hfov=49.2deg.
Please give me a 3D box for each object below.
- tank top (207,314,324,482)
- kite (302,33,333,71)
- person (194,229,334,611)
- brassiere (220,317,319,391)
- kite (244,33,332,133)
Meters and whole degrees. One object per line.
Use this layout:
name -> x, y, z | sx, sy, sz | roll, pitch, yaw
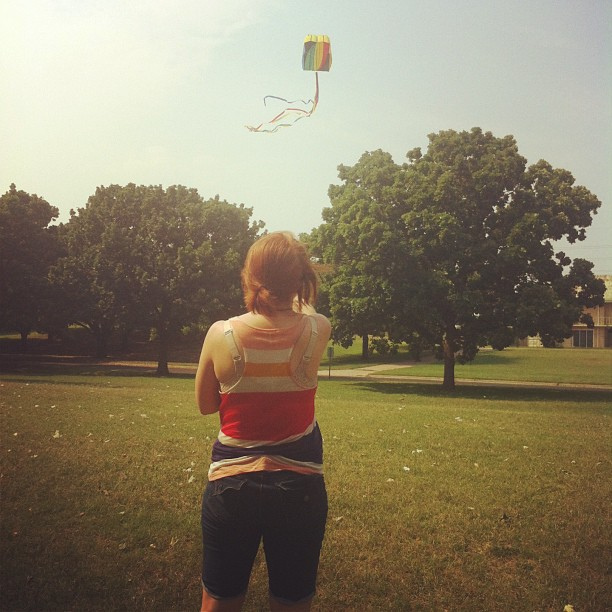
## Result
tank top -> -0.234, 0.500, 4.346 | 0.706, 1.322, 0.640 | 2, 25, 2
kite -> 0.142, -2.889, 7.340 | 0.322, 0.286, 0.479 | 0, -26, 2
person -> -0.262, 0.735, 4.269 | 0.849, 2.437, 0.367 | 0, 1, -14
brassiere -> -0.226, 0.269, 4.296 | 0.588, 0.602, 0.417 | 1, 11, -5
kite -> -0.094, -2.481, 7.302 | 0.607, 1.039, 0.756 | 17, 20, 26
